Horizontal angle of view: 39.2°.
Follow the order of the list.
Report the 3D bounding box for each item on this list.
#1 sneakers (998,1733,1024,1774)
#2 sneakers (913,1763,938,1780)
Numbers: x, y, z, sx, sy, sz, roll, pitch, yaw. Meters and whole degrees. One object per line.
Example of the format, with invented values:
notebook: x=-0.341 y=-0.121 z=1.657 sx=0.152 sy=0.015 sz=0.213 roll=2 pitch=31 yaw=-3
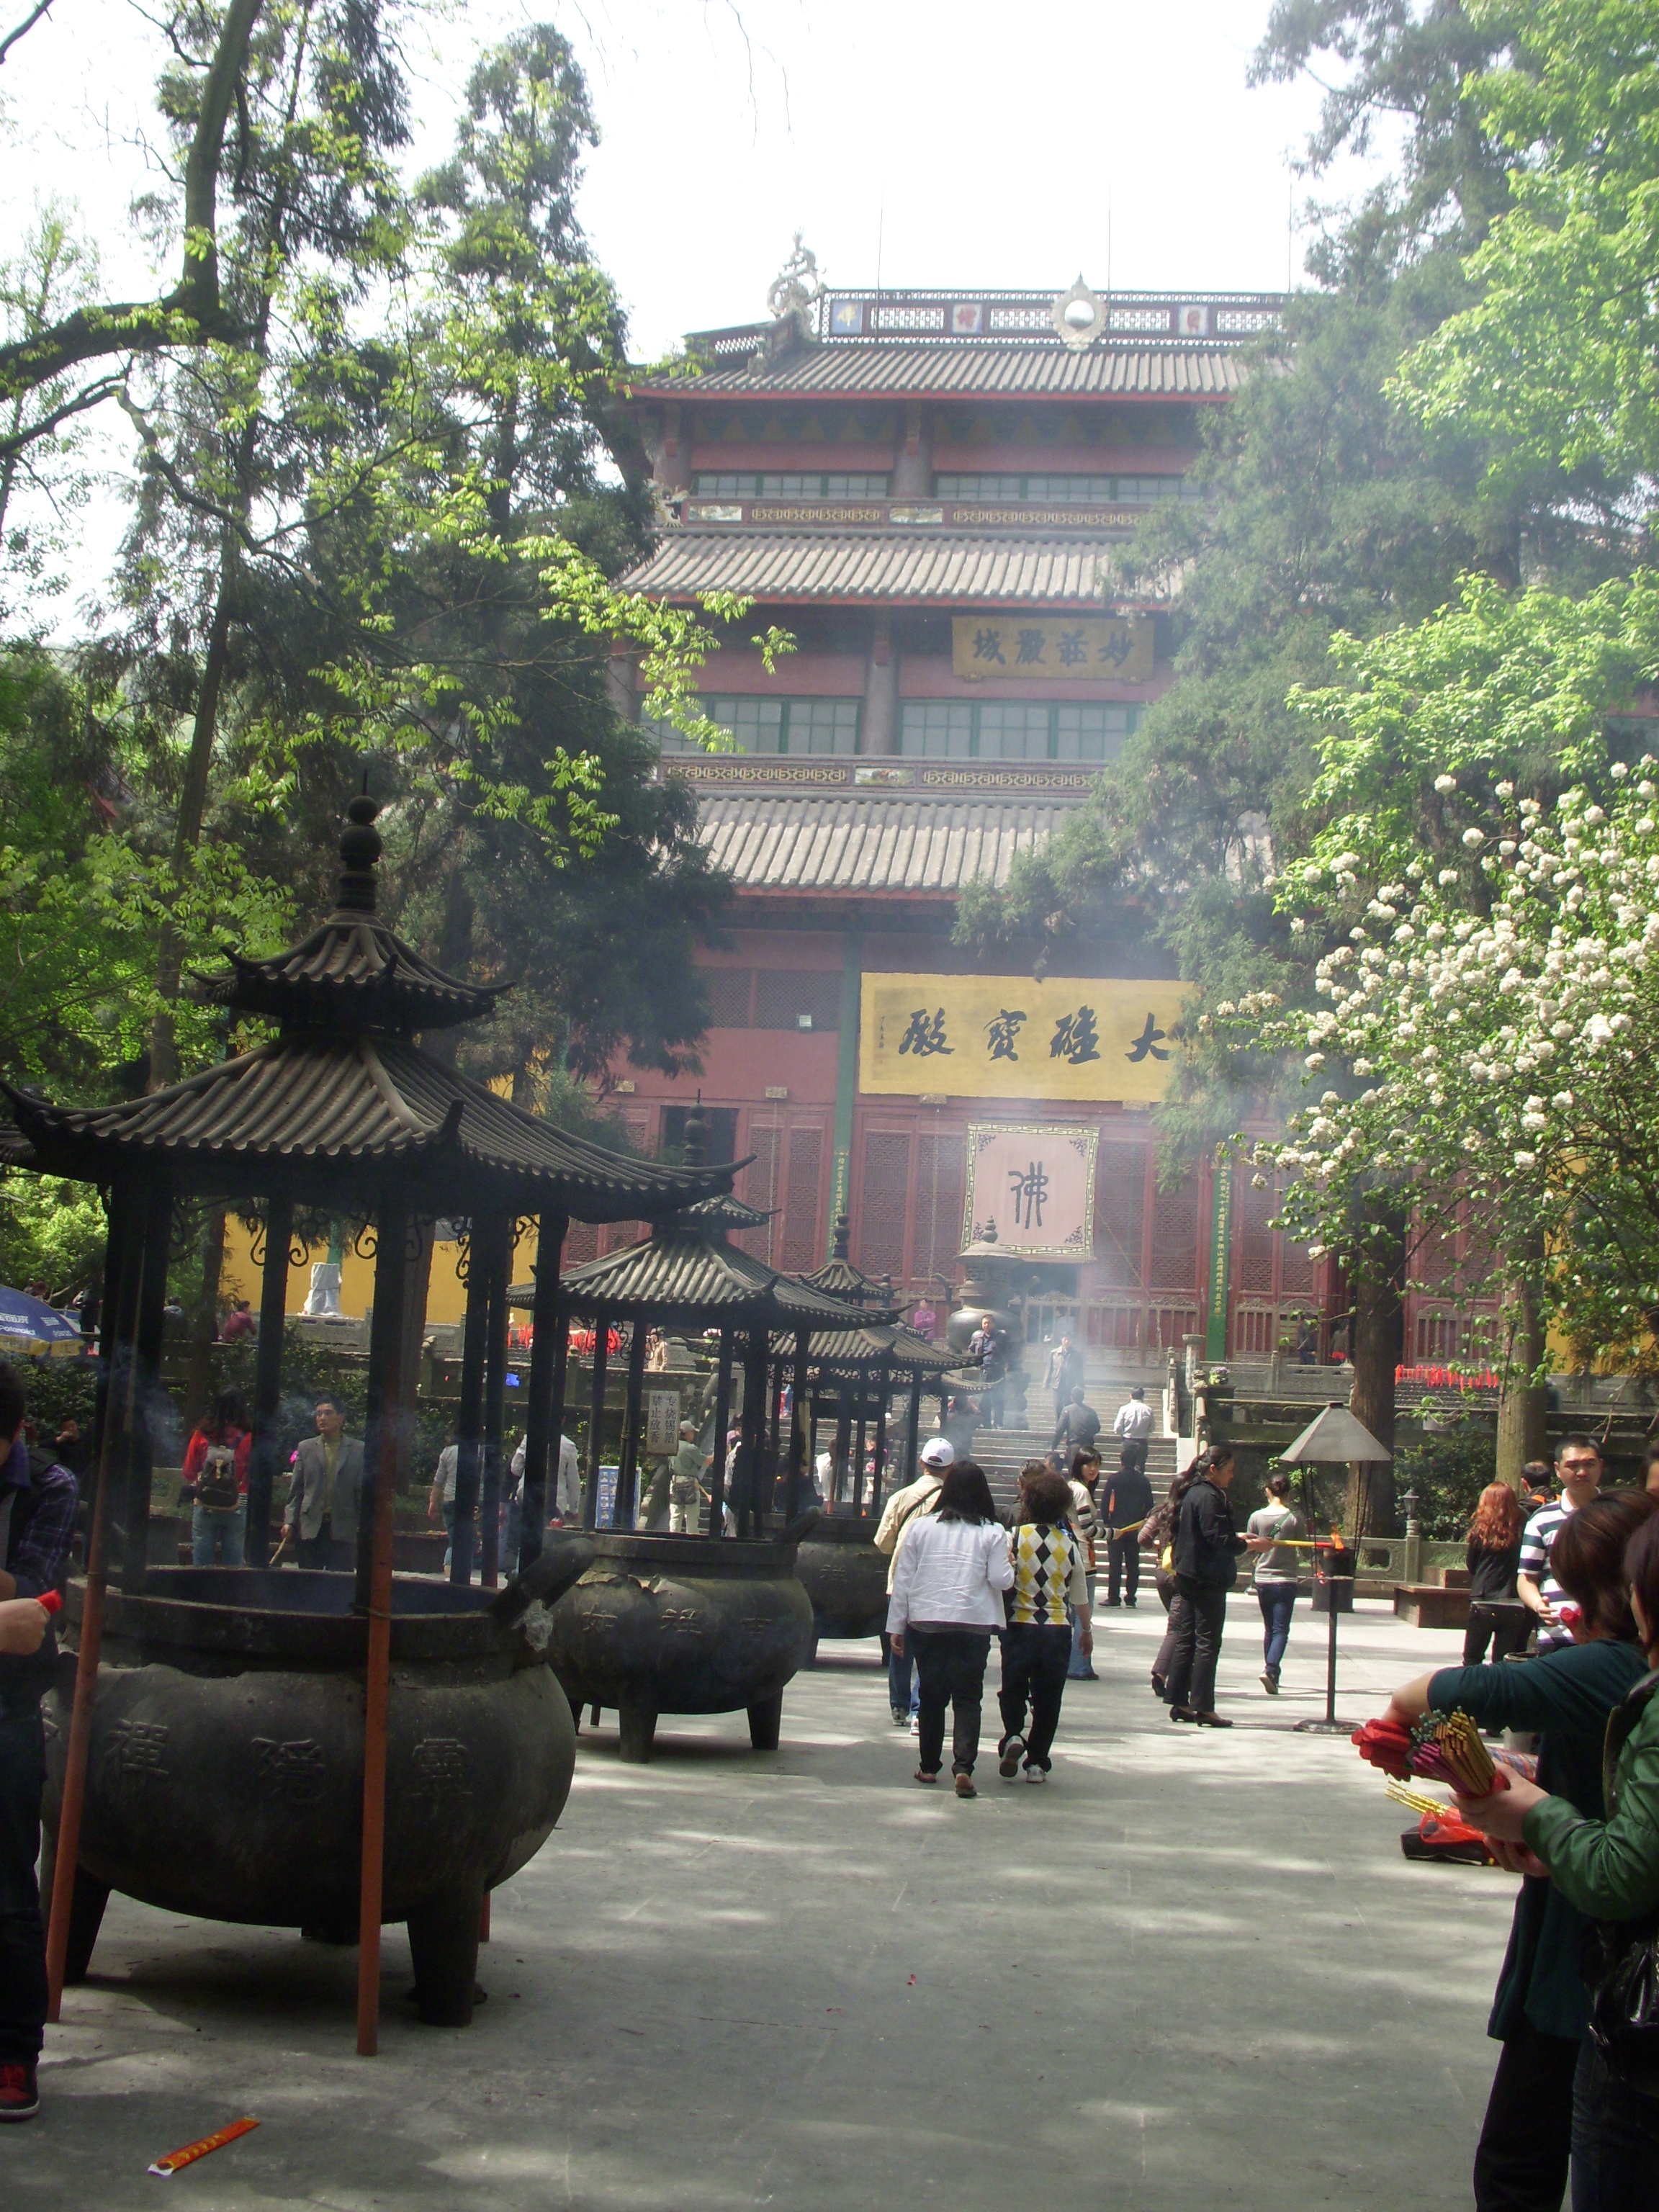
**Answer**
sneakers: x=0.839 y=3.020 z=10.847 sx=0.079 sy=0.217 sz=0.092 roll=4 pitch=32 yaw=-8
sneakers: x=0.442 y=3.056 z=10.712 sx=0.086 sy=0.078 sz=0.110 roll=-2 pitch=-10 yaw=28
